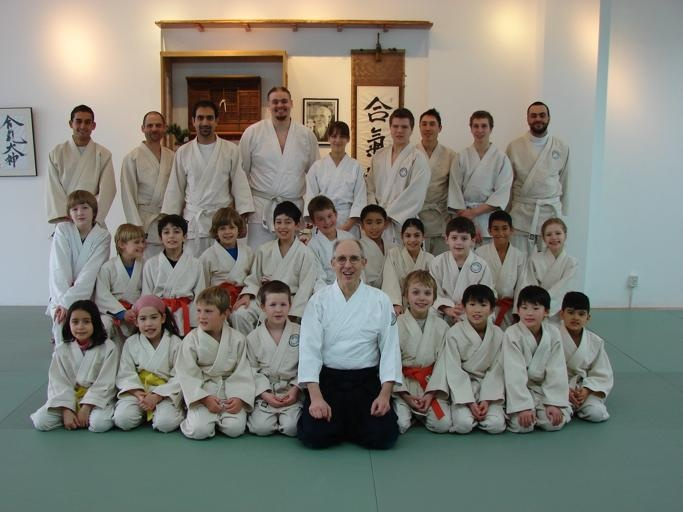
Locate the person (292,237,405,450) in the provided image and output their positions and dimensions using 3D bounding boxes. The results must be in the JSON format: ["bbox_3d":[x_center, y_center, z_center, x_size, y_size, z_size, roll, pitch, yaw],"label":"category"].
[{"bbox_3d":[0.061,0.593,4.432,0.734,1.374,0.518,0,9,3],"label":"person"}]
